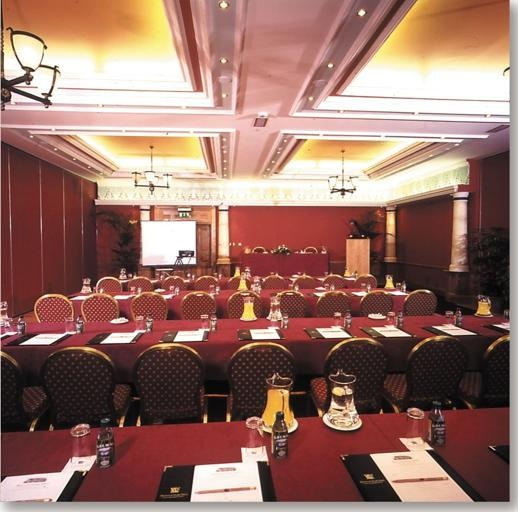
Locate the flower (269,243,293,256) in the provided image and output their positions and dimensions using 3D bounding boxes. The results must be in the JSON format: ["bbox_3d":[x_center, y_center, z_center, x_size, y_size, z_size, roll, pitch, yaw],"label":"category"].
[{"bbox_3d":[0.693,-0.180,10.676,0.817,0.394,0.292,-5,7,-37],"label":"flower"}]

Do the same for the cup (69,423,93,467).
[{"bbox_3d":[-0.818,0.864,1.861,0.093,0.151,0.158,-4,9,-27],"label":"cup"}]

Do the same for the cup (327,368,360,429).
[{"bbox_3d":[0.444,0.788,2.246,0.245,0.252,0.243,0,-3,0],"label":"cup"}]

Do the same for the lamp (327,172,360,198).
[{"bbox_3d":[2.340,-2.005,11.442,0.711,0.942,0.834,-2,5,-14],"label":"lamp"}]

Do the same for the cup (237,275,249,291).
[{"bbox_3d":[-0.279,0.437,6.616,0.254,0.255,0.250,1,2,0],"label":"cup"}]

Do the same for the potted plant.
[{"bbox_3d":[4.788,0.224,8.530,0.674,1.633,1.853,4,9,26],"label":"potted plant"}]

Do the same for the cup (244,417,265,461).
[{"bbox_3d":[-0.019,0.851,1.926,0.146,0.174,0.161,-1,-7,-6],"label":"cup"}]

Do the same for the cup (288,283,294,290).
[{"bbox_3d":[0.572,0.565,7.522,0.090,0.111,0.118,-1,0,-14],"label":"cup"}]

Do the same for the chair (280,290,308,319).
[{"bbox_3d":[0.455,0.651,5.671,0.362,0.462,0.370,1,10,3],"label":"chair"}]

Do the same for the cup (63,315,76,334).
[{"bbox_3d":[-1.826,0.661,3.942,0.131,0.180,0.154,0,-3,-5],"label":"cup"}]

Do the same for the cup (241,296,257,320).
[{"bbox_3d":[-0.124,0.580,4.485,0.245,0.237,0.233,0,-4,0],"label":"cup"}]

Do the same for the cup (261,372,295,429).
[{"bbox_3d":[0.084,0.782,2.193,0.200,0.253,0.263,0,-13,-3],"label":"cup"}]

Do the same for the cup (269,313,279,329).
[{"bbox_3d":[0.141,0.652,4.097,0.125,0.123,0.119,0,-8,0],"label":"cup"}]

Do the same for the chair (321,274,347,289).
[{"bbox_3d":[1.374,0.477,7.532,0.302,0.394,0.327,2,10,3],"label":"chair"}]

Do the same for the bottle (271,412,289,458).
[{"bbox_3d":[0.095,0.834,1.926,0.075,0.184,0.117,0,8,3],"label":"bottle"}]

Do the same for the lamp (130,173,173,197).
[{"bbox_3d":[-3.008,-1.912,11.022,1.152,0.506,0.926,0,2,2],"label":"lamp"}]

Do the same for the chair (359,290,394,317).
[{"bbox_3d":[1.650,0.659,5.995,0.387,0.521,0.417,1,7,3],"label":"chair"}]
